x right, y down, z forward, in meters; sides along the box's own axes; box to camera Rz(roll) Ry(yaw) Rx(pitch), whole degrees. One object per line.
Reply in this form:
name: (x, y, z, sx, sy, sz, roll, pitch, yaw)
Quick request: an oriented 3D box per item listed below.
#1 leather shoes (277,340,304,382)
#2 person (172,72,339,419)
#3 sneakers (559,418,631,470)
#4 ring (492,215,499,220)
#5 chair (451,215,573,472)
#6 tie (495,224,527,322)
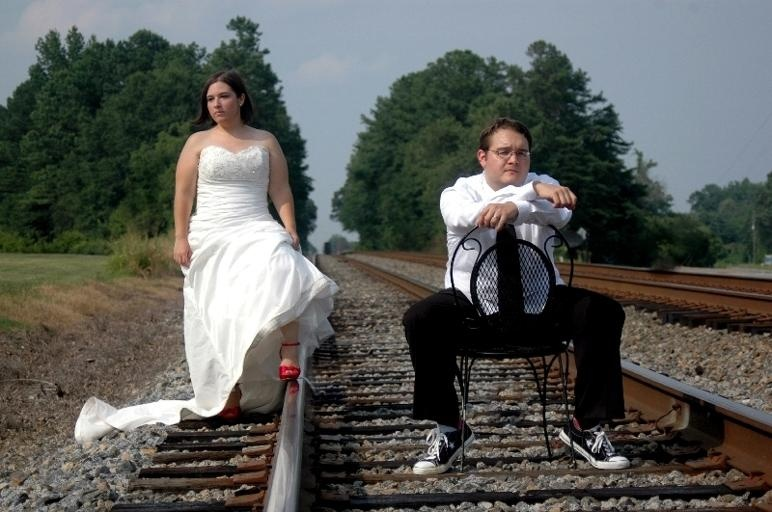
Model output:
leather shoes: (-0.816, 0.890, 5.868, 0.190, 0.346, 0.278, 1, 6, -9)
person: (-1.199, -0.140, 6.050, 1.382, 2.960, 1.006, 2, 6, 2)
sneakers: (1.468, 1.338, 4.973, 0.202, 0.247, 0.549, -12, 22, -32)
ring: (0.776, -0.275, 4.870, 0.030, 0.032, 0.009, -4, 24, 23)
chair: (0.946, 0.621, 5.346, 0.848, 1.850, 1.030, 0, -1, 6)
tie: (0.892, 0.176, 4.946, 0.221, 0.588, 0.108, 3, 6, 8)
